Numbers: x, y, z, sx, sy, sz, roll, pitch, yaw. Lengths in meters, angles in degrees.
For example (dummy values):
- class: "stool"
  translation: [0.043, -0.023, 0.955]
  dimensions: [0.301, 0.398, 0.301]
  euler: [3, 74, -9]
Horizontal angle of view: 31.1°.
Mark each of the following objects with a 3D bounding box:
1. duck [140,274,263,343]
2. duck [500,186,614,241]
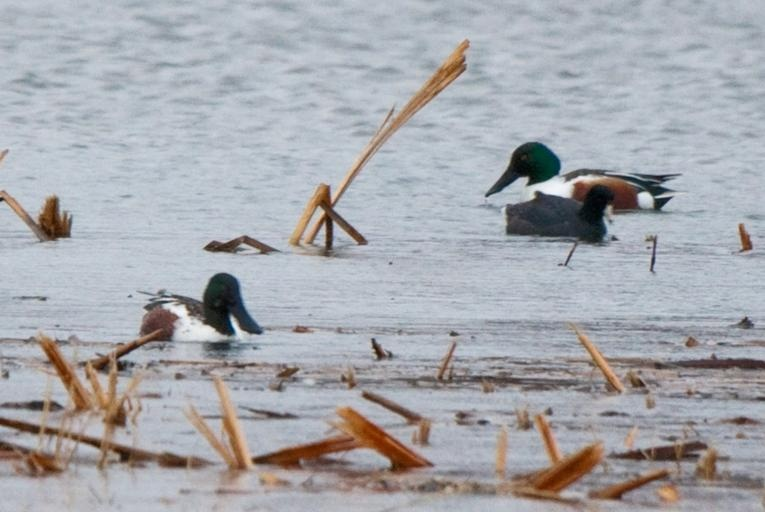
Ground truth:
- class: "duck"
  translation: [-2.104, 0.637, 15.987]
  dimensions: [1.246, 0.582, 0.962]
  euler: [-5, 19, -14]
- class: "duck"
  translation: [2.552, -0.547, 20.145]
  dimensions: [1.434, 0.738, 0.841]
  euler: [5, 17, 8]
